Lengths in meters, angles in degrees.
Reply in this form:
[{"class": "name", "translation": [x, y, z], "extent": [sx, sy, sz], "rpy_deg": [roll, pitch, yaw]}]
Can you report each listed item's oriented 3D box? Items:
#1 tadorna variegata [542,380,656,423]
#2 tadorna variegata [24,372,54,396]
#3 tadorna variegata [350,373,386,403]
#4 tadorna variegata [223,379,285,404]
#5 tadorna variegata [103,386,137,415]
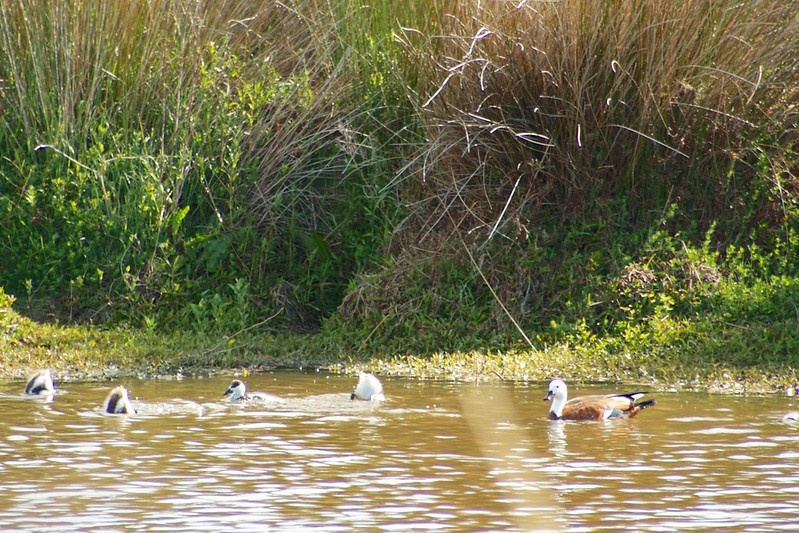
[{"class": "tadorna variegata", "translation": [1.814, 1.199, 9.713], "extent": [0.960, 0.414, 0.666], "rpy_deg": [-2, 76, 1]}, {"class": "tadorna variegata", "translation": [-3.384, 1.126, 9.905], "extent": [0.147, 0.314, 0.177], "rpy_deg": [2, 18, 4]}, {"class": "tadorna variegata", "translation": [-0.298, 1.152, 9.925], "extent": [0.194, 0.127, 0.315], "rpy_deg": [-6, 76, 1]}, {"class": "tadorna variegata", "translation": [-1.389, 1.177, 9.910], "extent": [0.625, 0.233, 0.325], "rpy_deg": [4, 85, -3]}, {"class": "tadorna variegata", "translation": [-2.488, 1.208, 9.378], "extent": [0.176, 0.300, 0.128], "rpy_deg": [-3, 42, -5]}]
